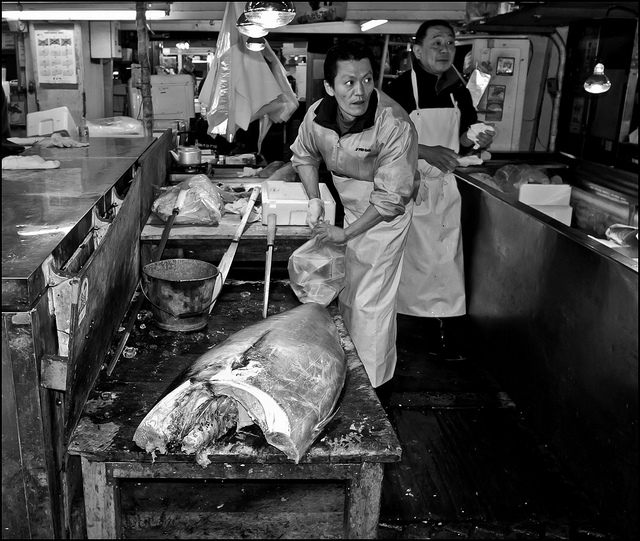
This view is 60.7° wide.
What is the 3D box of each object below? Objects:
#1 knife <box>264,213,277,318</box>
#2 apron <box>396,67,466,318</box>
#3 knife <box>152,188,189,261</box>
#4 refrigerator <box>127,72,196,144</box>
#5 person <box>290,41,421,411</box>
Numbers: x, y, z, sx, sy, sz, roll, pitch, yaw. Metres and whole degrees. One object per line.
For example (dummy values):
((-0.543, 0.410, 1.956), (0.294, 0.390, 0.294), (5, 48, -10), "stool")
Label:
((-0.245, -0.013, 2.563), (0.064, 0.448, 0.035), (19, -26, -37), "knife")
((0.788, -0.439, 3.797), (0.423, 1.754, 0.486), (3, 21, -7), "apron")
((-0.853, -0.274, 3.124), (0.029, 0.085, 0.581), (-34, 24, 34), "knife")
((-1.869, -1.916, 6.485), (0.689, 0.831, 1.485), (-5, 16, -16), "refrigerator")
((0.177, -0.208, 2.988), (0.698, 1.884, 0.625), (6, 17, 24), "person")
